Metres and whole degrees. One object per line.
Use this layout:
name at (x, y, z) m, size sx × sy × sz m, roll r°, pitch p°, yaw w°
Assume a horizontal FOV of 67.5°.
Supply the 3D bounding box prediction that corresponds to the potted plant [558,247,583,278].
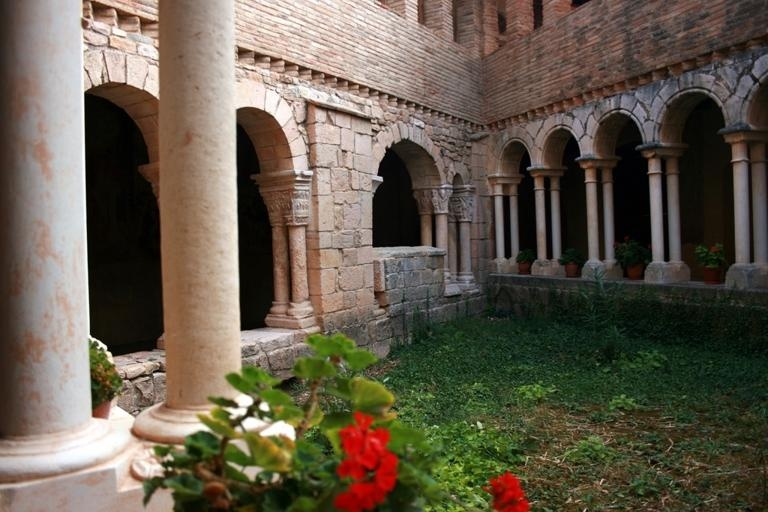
potted plant at (3.375, 0.132, 10.309) m, size 0.417 × 0.474 × 0.509 m, roll -1°, pitch 9°, yaw 16°

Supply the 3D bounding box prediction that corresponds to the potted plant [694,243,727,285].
potted plant at (4.563, 0.107, 8.036) m, size 0.319 × 0.546 × 0.251 m, roll 0°, pitch 10°, yaw 24°

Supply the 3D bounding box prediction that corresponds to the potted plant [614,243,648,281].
potted plant at (3.974, 0.062, 9.391) m, size 0.575 × 0.573 × 0.532 m, roll -2°, pitch -1°, yaw -4°

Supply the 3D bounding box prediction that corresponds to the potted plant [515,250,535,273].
potted plant at (2.705, 0.112, 10.988) m, size 0.351 × 0.457 × 0.339 m, roll -2°, pitch 9°, yaw 13°
